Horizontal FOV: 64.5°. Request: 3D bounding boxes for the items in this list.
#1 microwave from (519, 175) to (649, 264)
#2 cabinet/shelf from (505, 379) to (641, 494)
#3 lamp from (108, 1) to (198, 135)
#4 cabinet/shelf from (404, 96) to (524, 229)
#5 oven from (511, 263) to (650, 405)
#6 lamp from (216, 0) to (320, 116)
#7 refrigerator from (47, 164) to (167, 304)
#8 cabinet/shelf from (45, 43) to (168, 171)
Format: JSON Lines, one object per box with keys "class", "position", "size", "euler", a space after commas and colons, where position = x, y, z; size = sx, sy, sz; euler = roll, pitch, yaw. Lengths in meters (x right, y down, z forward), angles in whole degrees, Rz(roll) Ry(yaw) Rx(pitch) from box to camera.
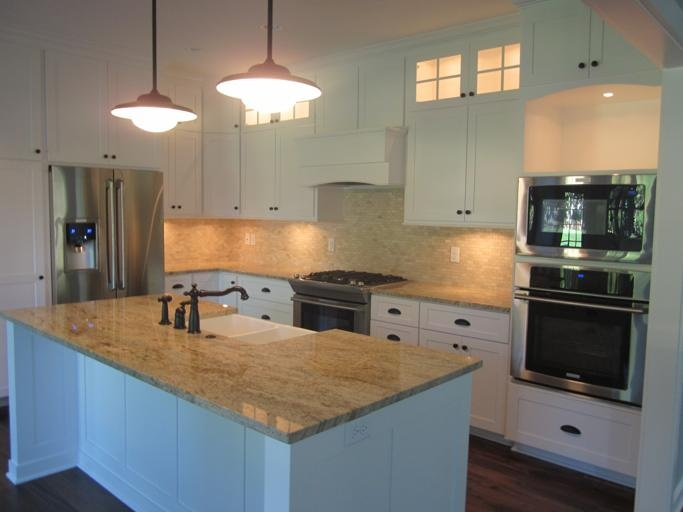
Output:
{"class": "microwave", "position": [1.735, -0.227, 3.954], "size": [0.877, 0.612, 0.490], "euler": [3, -9, 21]}
{"class": "cabinet/shelf", "position": [1.832, 1.270, 4.021], "size": [0.556, 0.605, 0.998], "euler": [1, 0, -40]}
{"class": "lamp", "position": [-1.357, -1.372, 3.847], "size": [0.507, 0.975, 1.727], "euler": [-3, 11, -19]}
{"class": "cabinet/shelf", "position": [1.113, -0.747, 4.605], "size": [1.063, 0.968, 0.434], "euler": [6, 16, 28]}
{"class": "oven", "position": [1.661, 0.553, 4.045], "size": [0.927, 0.895, 0.654], "euler": [7, -7, 5]}
{"class": "lamp", "position": [-0.359, -1.032, 2.750], "size": [0.515, 0.565, 0.293], "euler": [-3, 12, -20]}
{"class": "refrigerator", "position": [-2.238, -0.229, 5.195], "size": [1.025, 1.257, 0.386], "euler": [-4, 12, -25]}
{"class": "cabinet/shelf", "position": [-2.242, -1.383, 5.346], "size": [0.988, 0.902, 0.366], "euler": [7, 23, -7]}
